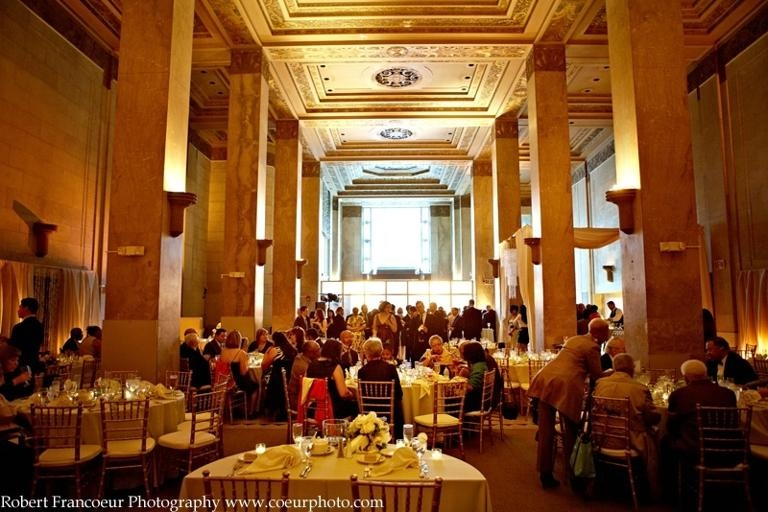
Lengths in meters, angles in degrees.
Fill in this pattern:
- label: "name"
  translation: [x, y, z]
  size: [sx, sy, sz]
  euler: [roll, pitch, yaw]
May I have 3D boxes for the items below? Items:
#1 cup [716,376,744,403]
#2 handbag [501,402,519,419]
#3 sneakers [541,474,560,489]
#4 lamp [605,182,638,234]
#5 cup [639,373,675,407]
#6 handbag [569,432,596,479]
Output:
- label: "cup"
  translation: [4.560, 1.758, 7.433]
  size: [0.319, 0.318, 0.319]
  euler: [0, -2, 0]
- label: "handbag"
  translation: [2.390, 2.897, 10.617]
  size: [0.280, 0.224, 0.277]
  euler: [0, -4, 2]
- label: "sneakers"
  translation: [2.221, 3.014, 7.561]
  size: [0.301, 0.220, 0.114]
  euler: [-3, -1, -22]
- label: "lamp"
  translation: [3.796, -0.753, 8.920]
  size: [0.451, 0.830, 0.394]
  euler: [-5, -10, 22]
- label: "cup"
  translation: [3.921, 1.830, 7.999]
  size: [0.536, 0.369, 0.454]
  euler: [-1, -1, -27]
- label: "handbag"
  translation: [2.579, 2.583, 7.267]
  size: [0.269, 0.595, 0.603]
  euler: [1, -10, 11]
